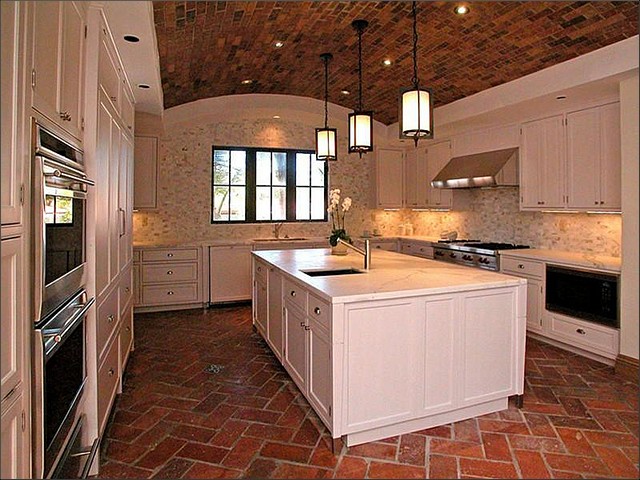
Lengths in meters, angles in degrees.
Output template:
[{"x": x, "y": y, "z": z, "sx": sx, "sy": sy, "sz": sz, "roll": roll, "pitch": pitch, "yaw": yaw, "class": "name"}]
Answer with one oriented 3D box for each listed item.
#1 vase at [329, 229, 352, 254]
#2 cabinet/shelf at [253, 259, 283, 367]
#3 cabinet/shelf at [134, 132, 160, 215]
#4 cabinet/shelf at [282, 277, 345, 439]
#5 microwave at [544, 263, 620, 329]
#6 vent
[{"x": 0.209, "y": 0.017, "z": 4.704, "sx": 0.265, "sy": 0.245, "sz": 0.259, "roll": -3, "pitch": 3, "yaw": -14, "class": "vase"}, {"x": -0.545, "y": 0.794, "z": 4.683, "sx": 0.392, "sy": 0.927, "sz": 1.068, "roll": 1, "pitch": 1, "yaw": -15, "class": "cabinet/shelf"}, {"x": -2.416, "y": -0.957, "z": 6.110, "sx": 0.435, "sy": 1.010, "sz": 0.259, "roll": -9, "pitch": 16, "yaw": -34, "class": "cabinet/shelf"}, {"x": -0.037, "y": 0.943, "z": 3.426, "sx": 0.461, "sy": 0.929, "sz": 1.149, "roll": 2, "pitch": 2, "yaw": -15, "class": "cabinet/shelf"}, {"x": 2.815, "y": 0.589, "z": 4.741, "sx": 0.498, "sy": 0.756, "sz": 0.921, "roll": 3, "pitch": 0, "yaw": -25, "class": "microwave"}, {"x": 2.198, "y": -1.023, "z": 6.379, "sx": 0.445, "sy": 0.509, "sz": 1.419, "roll": -3, "pitch": 6, "yaw": -19, "class": "vent"}]
